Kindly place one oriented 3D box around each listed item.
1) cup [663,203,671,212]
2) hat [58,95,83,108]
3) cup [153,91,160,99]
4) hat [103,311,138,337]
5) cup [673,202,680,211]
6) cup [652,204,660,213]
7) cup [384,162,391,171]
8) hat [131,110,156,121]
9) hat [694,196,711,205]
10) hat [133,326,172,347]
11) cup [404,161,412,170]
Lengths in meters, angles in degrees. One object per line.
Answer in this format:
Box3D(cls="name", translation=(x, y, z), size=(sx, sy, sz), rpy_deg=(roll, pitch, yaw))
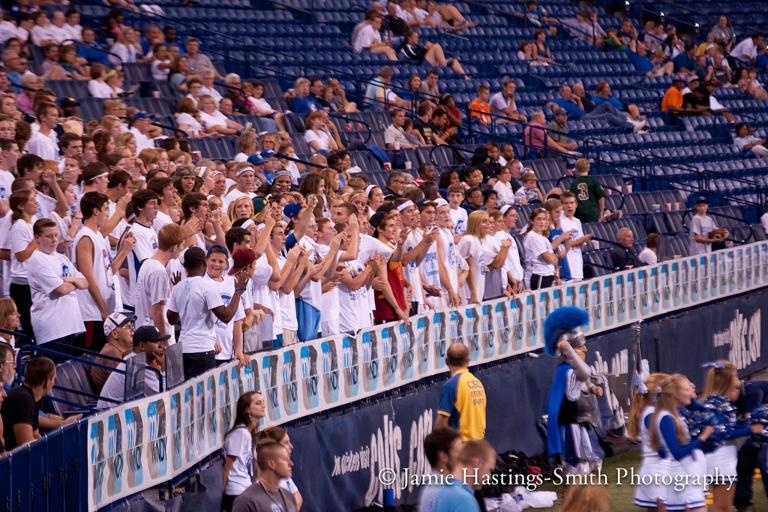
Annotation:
Box3D(cls="cup", translation=(5.900, -0.999, 31.959), size=(0.207, 0.211, 0.196), rpy_deg=(1, -3, 0))
Box3D(cls="hat", translation=(-5.209, -2.505, 24.971), size=(0.553, 0.200, 0.343), rpy_deg=(5, 7, 37))
Box3D(cls="cup", translation=(-4.216, -2.970, 28.276), size=(0.176, 0.164, 0.164), rpy_deg=(-1, 14, 0))
Box3D(cls="hat", translation=(-3.535, 0.888, 20.329), size=(0.395, 0.193, 0.254), rpy_deg=(-29, 7, -5))
Box3D(cls="cup", translation=(6.136, -1.035, 32.321), size=(0.147, 0.237, 0.254), rpy_deg=(0, 2, 25))
Box3D(cls="cup", translation=(5.633, -0.992, 31.842), size=(0.128, 0.204, 0.343), rpy_deg=(-2, -9, 10))
Box3D(cls="cup", translation=(0.029, -1.651, 28.524), size=(0.146, 0.124, 0.145), rpy_deg=(0, -4, 0))
Box3D(cls="hat", translation=(-3.958, -2.267, 24.823), size=(0.294, 0.096, 0.176), rpy_deg=(-4, 3, 1))
Box3D(cls="hat", translation=(6.388, -1.109, 30.853), size=(0.411, 0.174, 0.610), rpy_deg=(-1, 2, 4))
Box3D(cls="hat", translation=(-3.013, 1.052, 19.731), size=(0.380, 0.186, 0.254), rpy_deg=(-1, 1, -3))
Box3D(cls="cup", translation=(0.432, -1.688, 28.834), size=(0.155, 0.159, 0.148), rpy_deg=(2, -2, 0))
